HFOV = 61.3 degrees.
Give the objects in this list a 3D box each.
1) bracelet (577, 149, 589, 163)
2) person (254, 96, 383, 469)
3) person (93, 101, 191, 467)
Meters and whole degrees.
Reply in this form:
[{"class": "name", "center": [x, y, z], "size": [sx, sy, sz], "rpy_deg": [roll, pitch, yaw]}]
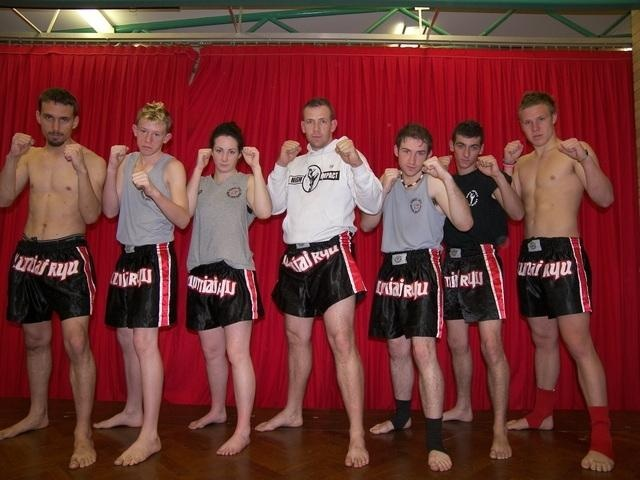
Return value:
[{"class": "bracelet", "center": [1.794, -0.554, 3.665], "size": [0.069, 0.097, 0.036], "rpy_deg": [-1, -2, 34]}, {"class": "person", "center": [0.014, 0.221, 3.845], "size": [0.882, 2.440, 0.461], "rpy_deg": [0, -1, 33]}, {"class": "person", "center": [-1.248, 0.226, 3.846], "size": [0.528, 2.413, 0.745], "rpy_deg": [1, -1, -33]}]
